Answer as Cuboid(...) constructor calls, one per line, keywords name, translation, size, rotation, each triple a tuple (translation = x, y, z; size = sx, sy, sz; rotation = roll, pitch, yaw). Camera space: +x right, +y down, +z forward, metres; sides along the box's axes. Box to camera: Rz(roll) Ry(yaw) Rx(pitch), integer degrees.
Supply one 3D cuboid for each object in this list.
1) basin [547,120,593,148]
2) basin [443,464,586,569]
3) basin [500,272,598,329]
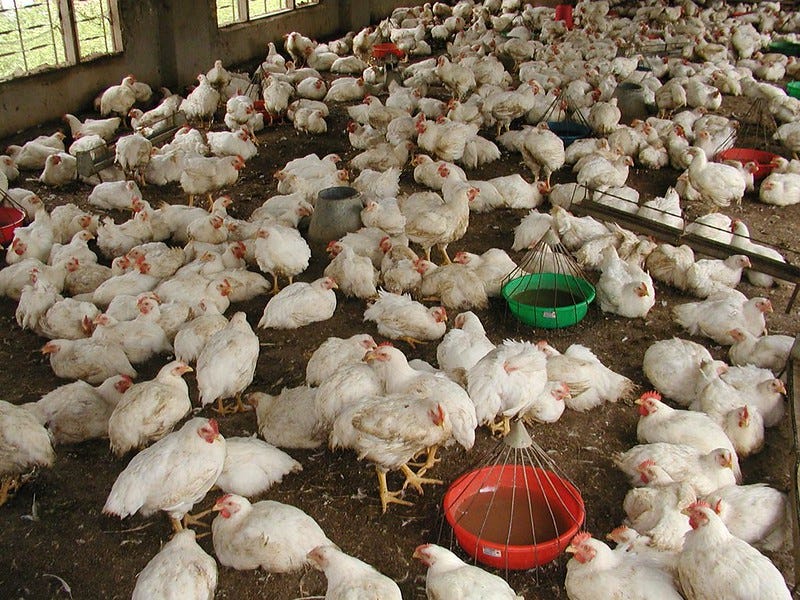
Cuboid(name="basin", translation=(2.965, -2.978, 10.920), size=(0.783, 0.252, 0.715), rotation=(-2, 37, 2))
Cuboid(name="basin", translation=(0.830, 1.575, 4.602), size=(0.879, 0.368, 0.833), rotation=(0, 39, 0))
Cuboid(name="basin", translation=(1.649, 0.110, 6.696), size=(0.778, 0.281, 0.767), rotation=(-10, 15, 3))
